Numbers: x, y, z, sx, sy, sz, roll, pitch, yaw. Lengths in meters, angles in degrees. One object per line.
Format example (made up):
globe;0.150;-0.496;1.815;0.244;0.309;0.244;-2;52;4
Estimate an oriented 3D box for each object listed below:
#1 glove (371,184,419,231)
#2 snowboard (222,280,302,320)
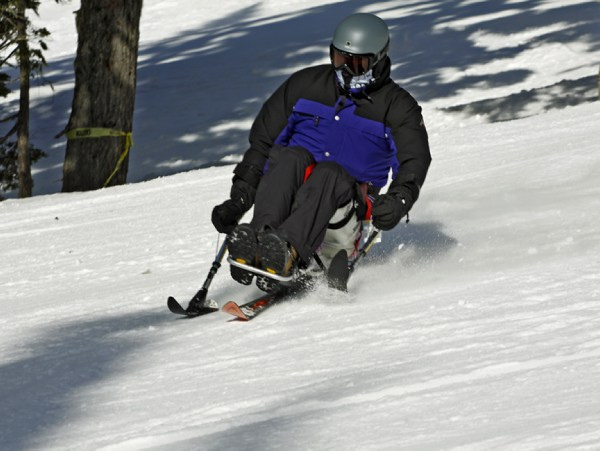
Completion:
glove;0.671;-0.137;5.673;0.241;0.172;0.410;36;40;15
snowboard;-0.251;0.531;5.582;0.211;0.094;0.792;15;18;28
